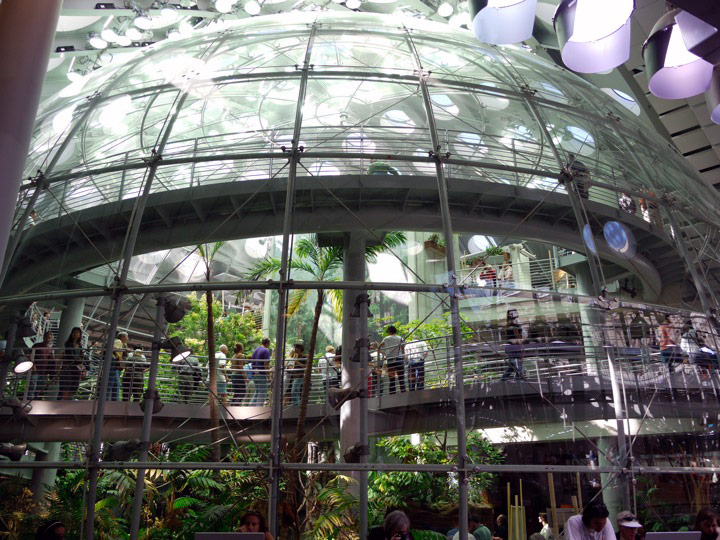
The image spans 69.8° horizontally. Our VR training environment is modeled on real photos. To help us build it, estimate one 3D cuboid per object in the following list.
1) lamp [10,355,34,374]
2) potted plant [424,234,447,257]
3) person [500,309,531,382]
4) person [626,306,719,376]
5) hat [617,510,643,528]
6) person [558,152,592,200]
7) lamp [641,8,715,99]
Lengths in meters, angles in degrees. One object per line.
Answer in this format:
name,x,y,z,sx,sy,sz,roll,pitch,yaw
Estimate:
lamp,-5.655,1.561,8.662,0.329,0.212,0.293,-15,-26,-31
potted plant,1.301,-0.411,9.184,0.362,0.530,0.117,-10,-25,17
person,2.506,1.215,8.566,0.423,1.149,0.191,-1,-24,-5
person,5.487,1.291,9.192,1.948,0.927,0.545,13,-39,-12
hat,3.717,3.448,7.202,0.239,0.135,0.278,6,-23,9
person,4.262,-1.842,10.327,0.499,1.073,0.417,-24,-71,31
lamp,4.521,-3.014,7.472,0.779,0.912,1.189,-21,-28,37
